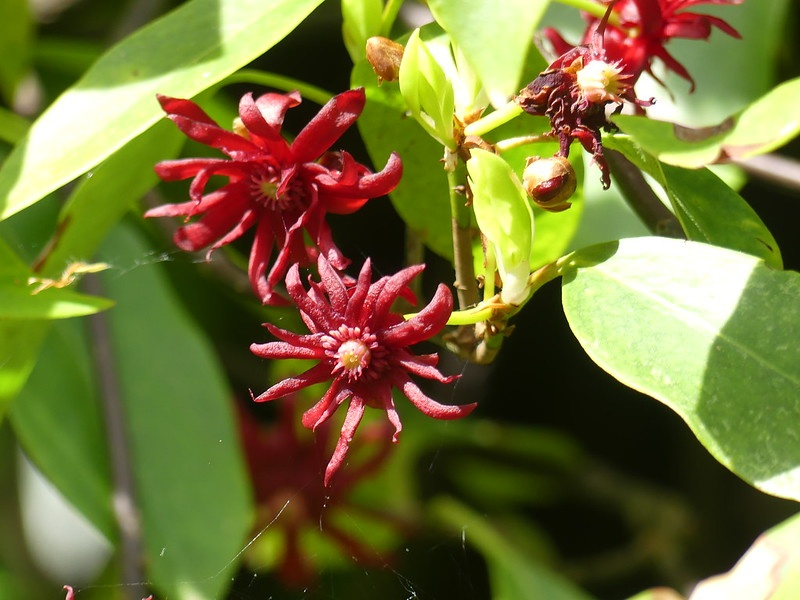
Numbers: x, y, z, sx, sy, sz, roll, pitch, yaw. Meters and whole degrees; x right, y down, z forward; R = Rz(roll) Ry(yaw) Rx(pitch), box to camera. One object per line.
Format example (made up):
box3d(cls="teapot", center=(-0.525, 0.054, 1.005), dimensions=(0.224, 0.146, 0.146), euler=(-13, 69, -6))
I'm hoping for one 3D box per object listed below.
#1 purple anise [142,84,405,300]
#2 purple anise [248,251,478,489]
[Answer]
box3d(cls="purple anise", center=(-0.134, -0.116, 0.875), dimensions=(0.223, 0.226, 0.077), euler=(-19, 59, -26))
box3d(cls="purple anise", center=(-0.034, 0.065, 0.817), dimensions=(0.203, 0.082, 0.245), euler=(-13, 46, -14))
